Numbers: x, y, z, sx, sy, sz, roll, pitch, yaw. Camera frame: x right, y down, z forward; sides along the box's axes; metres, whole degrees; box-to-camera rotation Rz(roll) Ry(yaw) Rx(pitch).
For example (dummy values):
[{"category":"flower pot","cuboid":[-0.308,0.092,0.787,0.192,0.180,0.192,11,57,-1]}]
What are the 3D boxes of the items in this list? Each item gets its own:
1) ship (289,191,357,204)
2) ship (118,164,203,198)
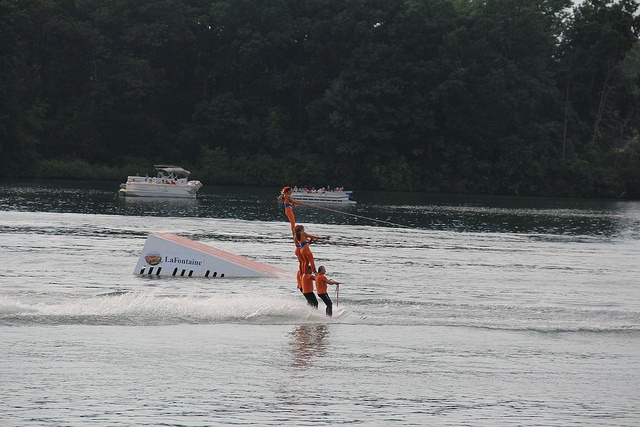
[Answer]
[{"category":"ship","cuboid":[0.266,-1.731,175.271,10.074,1.456,2.289,7,5,42]},{"category":"ship","cuboid":[-18.132,-3.913,177.766,8.237,3.472,10.022,1,6,-1]}]
